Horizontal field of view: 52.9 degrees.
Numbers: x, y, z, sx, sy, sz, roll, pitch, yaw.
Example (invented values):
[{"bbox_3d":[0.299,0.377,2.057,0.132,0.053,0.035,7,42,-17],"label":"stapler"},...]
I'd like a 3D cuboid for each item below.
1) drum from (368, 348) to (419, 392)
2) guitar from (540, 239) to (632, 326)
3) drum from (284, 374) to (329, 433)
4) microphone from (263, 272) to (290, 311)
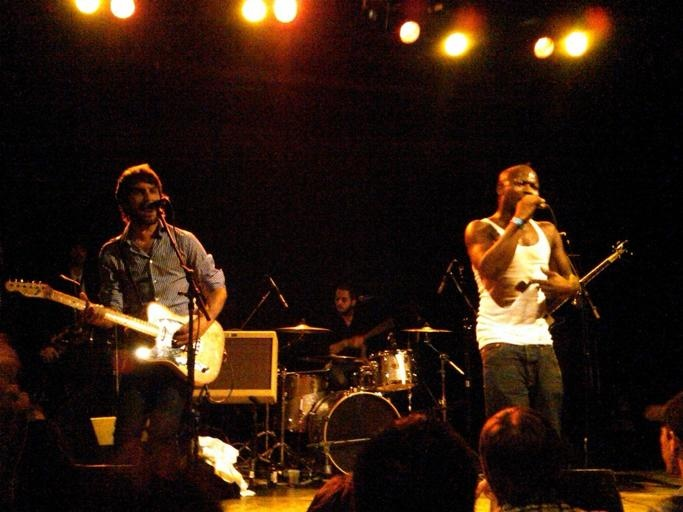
[{"bbox_3d":[0.526,1.142,6.944,0.429,0.309,0.430,-2,-17,-1],"label":"drum"},{"bbox_3d":[2.180,0.270,6.047,0.149,1.035,0.430,32,-26,43],"label":"guitar"},{"bbox_3d":[-0.417,1.483,7.040,0.540,0.537,0.547,-5,-13,22],"label":"drum"},{"bbox_3d":[-0.800,0.437,8.172,0.055,0.492,0.276,-27,-27,-16],"label":"microphone"}]
